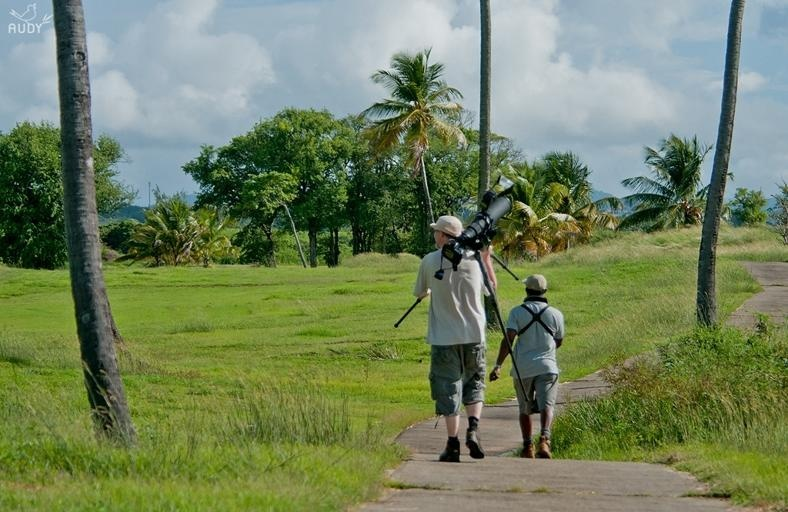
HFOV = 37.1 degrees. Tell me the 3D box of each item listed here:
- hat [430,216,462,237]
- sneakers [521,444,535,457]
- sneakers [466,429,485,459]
[{"bbox_3d":[1.155,-0.641,25.251,0.561,0.296,0.433,10,7,19],"label":"hat"},{"bbox_3d":[2.933,4.301,25.842,0.226,0.147,0.367,4,-8,2],"label":"sneakers"},{"bbox_3d":[1.715,4.081,25.038,0.276,0.291,0.684,-9,-42,13],"label":"sneakers"}]
